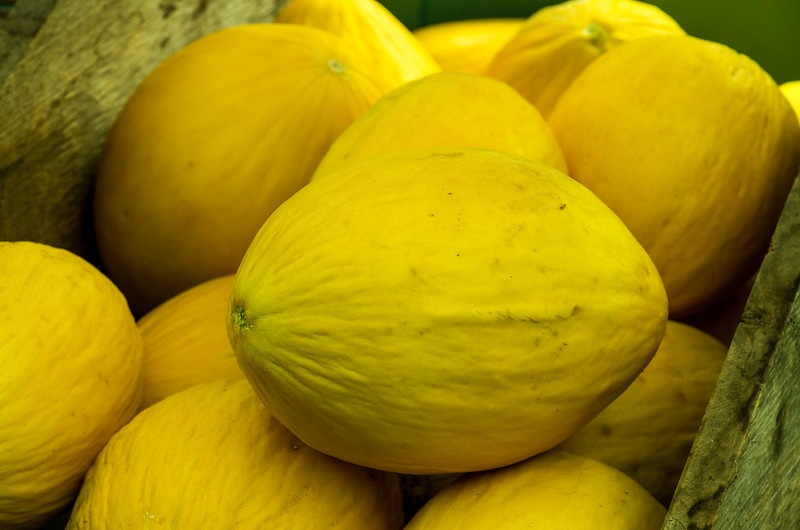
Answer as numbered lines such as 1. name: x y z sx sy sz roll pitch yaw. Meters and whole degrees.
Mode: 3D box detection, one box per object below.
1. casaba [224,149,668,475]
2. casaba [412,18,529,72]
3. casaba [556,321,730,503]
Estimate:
1. casaba: 0.046 0.044 1.004 0.468 0.227 0.263 -9 45 -10
2. casaba: 0.135 -0.415 1.641 0.143 0.069 0.150 -6 9 -11
3. casaba: 0.327 0.198 1.249 0.176 0.191 0.243 27 63 32
